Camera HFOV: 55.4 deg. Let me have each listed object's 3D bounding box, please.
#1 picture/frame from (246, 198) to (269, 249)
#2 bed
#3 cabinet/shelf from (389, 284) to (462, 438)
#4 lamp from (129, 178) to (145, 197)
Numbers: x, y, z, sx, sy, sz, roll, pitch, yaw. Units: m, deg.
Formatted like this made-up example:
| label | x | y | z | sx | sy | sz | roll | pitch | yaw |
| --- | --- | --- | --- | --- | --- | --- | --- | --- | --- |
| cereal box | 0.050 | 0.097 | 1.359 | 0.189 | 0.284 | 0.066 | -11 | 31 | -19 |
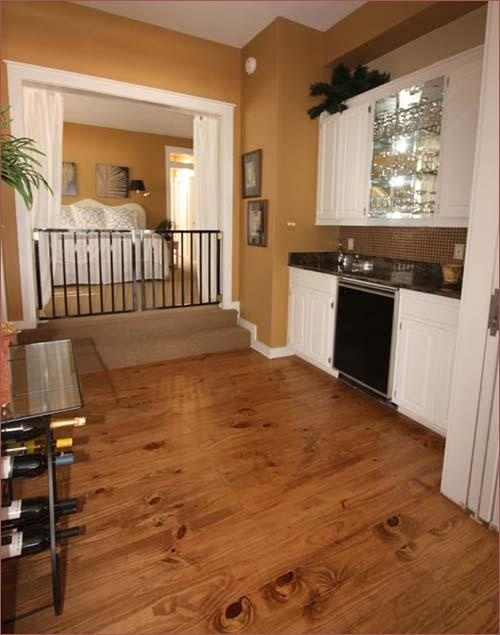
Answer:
| label | x | y | z | sx | sy | sz | roll | pitch | yaw |
| --- | --- | --- | --- | --- | --- | --- | --- | --- | --- |
| picture/frame | 0.071 | -0.846 | 4.236 | 0.050 | 0.456 | 0.455 | -3 | 11 | -21 |
| bed | -2.114 | -1.153 | 6.948 | 1.815 | 1.065 | 2.257 | -6 | 14 | -32 |
| cabinet/shelf | 0.984 | 0.298 | 2.978 | 0.493 | 0.805 | 0.529 | 10 | -24 | 10 |
| lamp | -1.931 | -2.227 | 8.130 | 0.277 | 0.254 | 0.273 | -5 | 21 | -16 |
